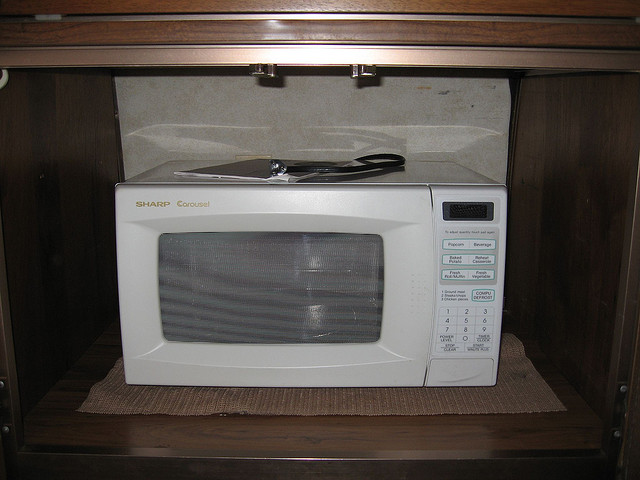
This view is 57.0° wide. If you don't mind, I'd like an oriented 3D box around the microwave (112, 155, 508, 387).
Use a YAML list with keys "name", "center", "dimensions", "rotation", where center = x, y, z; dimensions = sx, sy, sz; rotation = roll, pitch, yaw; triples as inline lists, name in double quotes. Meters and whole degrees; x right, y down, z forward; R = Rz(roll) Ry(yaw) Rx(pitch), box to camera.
- name: "microwave"
  center: [-0.023, 0.007, 1.335]
  dimensions: [0.843, 0.559, 0.372]
  rotation: [2, -72, 0]
